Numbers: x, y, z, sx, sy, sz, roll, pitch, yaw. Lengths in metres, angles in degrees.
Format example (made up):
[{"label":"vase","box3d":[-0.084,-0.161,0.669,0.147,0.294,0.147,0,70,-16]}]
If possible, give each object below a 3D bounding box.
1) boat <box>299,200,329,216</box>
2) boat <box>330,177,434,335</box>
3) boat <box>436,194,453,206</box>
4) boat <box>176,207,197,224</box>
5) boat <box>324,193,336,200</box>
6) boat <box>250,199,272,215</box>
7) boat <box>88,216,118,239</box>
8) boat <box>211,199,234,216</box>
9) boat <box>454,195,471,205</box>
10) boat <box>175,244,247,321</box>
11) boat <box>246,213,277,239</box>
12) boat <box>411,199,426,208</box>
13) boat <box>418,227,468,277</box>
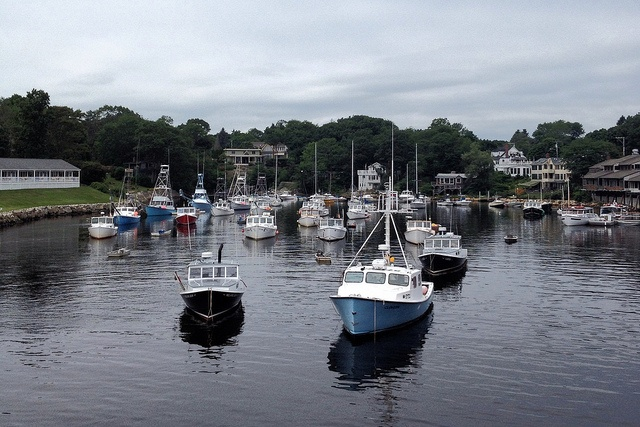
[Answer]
[{"label":"boat","box3d":[-1.062,-0.987,121.867,4.652,2.650,6.440,0,0,4]},{"label":"boat","box3d":[4.986,2.698,51.620,6.135,10.345,17.722,0,1,7]},{"label":"boat","box3d":[31.653,-3.314,169.841,2.730,2.658,6.942,0,1,7]},{"label":"boat","box3d":[-20.914,0.375,105.379,2.938,2.567,6.613,-1,1,-14]},{"label":"boat","box3d":[2.831,-5.186,197.289,2.629,1.381,3.589,3,9,-6]},{"label":"boat","box3d":[-10.947,-1.369,129.353,2.825,2.620,9.228,-1,-2,2]},{"label":"boat","box3d":[-27.015,1.732,83.763,3.089,2.652,4.728,-1,1,-18]},{"label":"boat","box3d":[-18.409,-1.066,126.774,3.357,2.920,5.813,-1,1,-3]},{"label":"boat","box3d":[35.682,-3.277,168.368,2.457,2.398,7.517,0,-1,9]},{"label":"boat","box3d":[-7.721,5.400,48.237,5.091,4.671,4.933,0,0,-10]},{"label":"boat","box3d":[-7.497,1.695,84.864,3.703,2.888,4.293,-1,1,-7]},{"label":"boat","box3d":[22.288,-2.535,151.292,2.677,1.826,7.856,-1,0,8]},{"label":"boat","box3d":[11.826,3.275,63.625,4.214,4.333,10.753,1,2,21]}]
